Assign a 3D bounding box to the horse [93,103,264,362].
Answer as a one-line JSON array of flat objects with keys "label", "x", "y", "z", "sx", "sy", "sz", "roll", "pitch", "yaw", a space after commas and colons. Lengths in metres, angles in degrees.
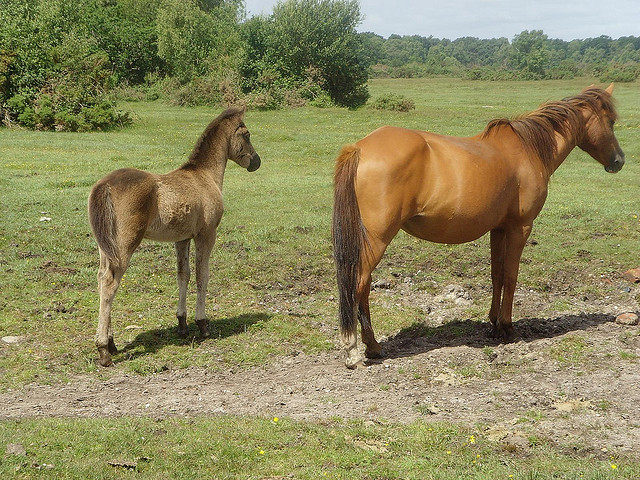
[{"label": "horse", "x": -2.611, "y": -0.250, "z": 14.039, "sx": 1.054, "sy": 4.184, "sz": 3.081, "roll": 6, "pitch": 11, "yaw": 28}]
